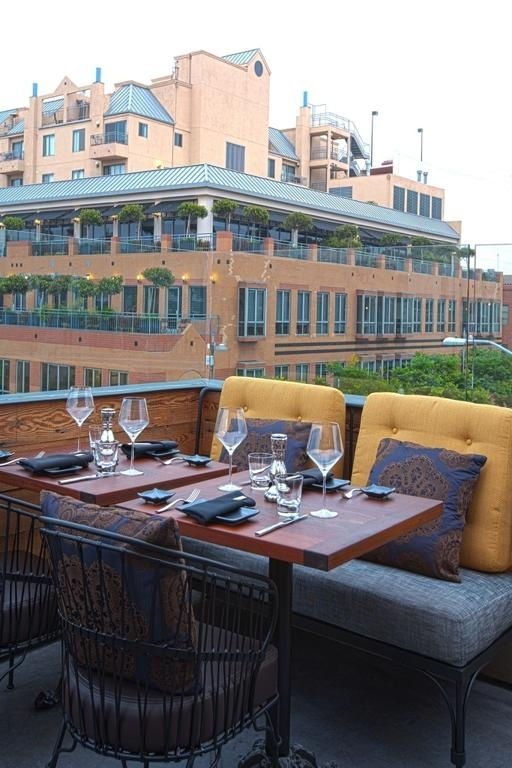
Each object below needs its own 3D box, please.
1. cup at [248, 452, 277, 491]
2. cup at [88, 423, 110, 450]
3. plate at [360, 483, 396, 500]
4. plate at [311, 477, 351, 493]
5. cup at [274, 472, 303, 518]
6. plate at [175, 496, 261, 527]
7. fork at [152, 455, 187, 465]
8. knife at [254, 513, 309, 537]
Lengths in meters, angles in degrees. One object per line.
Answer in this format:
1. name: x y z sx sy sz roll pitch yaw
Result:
1. cup: 0.005 0.243 2.110 0.099 0.114 0.092 0 5 0
2. cup: -0.527 0.172 2.473 0.103 0.104 0.120 2 -4 -6
3. plate: 0.350 0.311 2.105 0.089 0.028 0.109 -1 4 5
4. plate: 0.220 0.300 2.172 0.068 0.019 0.071 0 1 40
5. cup: 0.083 0.272 1.828 0.086 0.107 0.088 -1 3 0
6. plate: -0.070 0.317 1.846 0.218 0.037 0.168 -5 6 -44
7. fork: -0.297 0.273 2.632 0.034 0.039 0.207 8 1 27
8. knife: 0.063 0.336 1.762 0.036 0.019 0.226 3 4 31
